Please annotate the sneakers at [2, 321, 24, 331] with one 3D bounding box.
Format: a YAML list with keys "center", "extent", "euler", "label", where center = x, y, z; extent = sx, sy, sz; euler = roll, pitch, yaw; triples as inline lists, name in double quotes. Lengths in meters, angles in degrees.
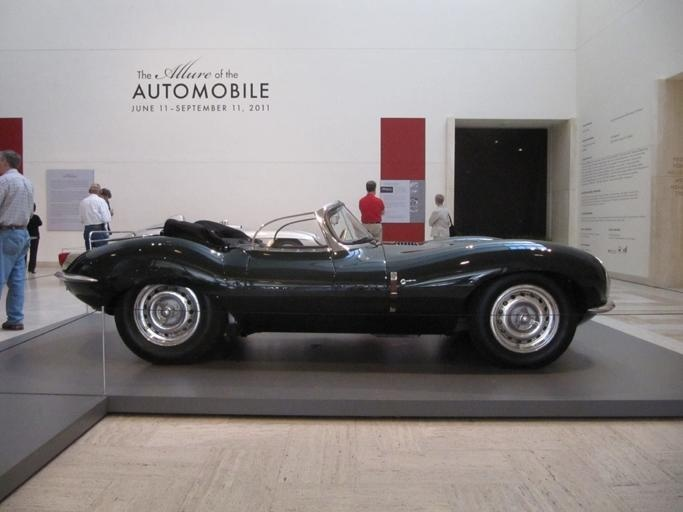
- center: [-3.280, 0.709, 5.075]
  extent: [0.192, 0.091, 0.092]
  euler: [5, -2, -1]
  label: "sneakers"
